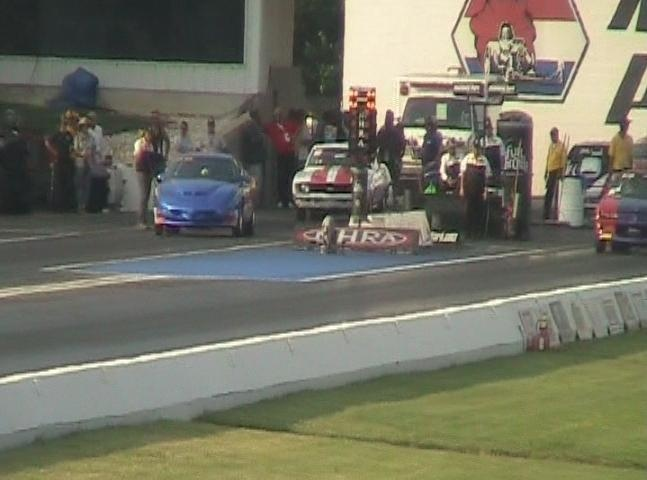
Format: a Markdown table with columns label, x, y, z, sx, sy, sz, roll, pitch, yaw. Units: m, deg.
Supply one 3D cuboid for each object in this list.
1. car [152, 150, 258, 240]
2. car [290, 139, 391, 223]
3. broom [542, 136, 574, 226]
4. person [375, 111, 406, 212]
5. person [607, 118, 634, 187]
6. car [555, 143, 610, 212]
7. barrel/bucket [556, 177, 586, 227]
| label | x | y | z | sx | sy | sz | roll | pitch | yaw |
| --- | --- | --- | --- | --- | --- | --- | --- | --- | --- |
| car | -2.463 | -1.020 | 24.258 | 1.593 | 1.973 | 1.944 | -2 | 11 | -8 |
| car | 0.021 | -1.480 | 27.938 | 1.256 | 1.292 | 2.615 | -1 | 4 | 5 |
| broom | 5.584 | -1.586 | 28.379 | 0.399 | 2.368 | 0.667 | 2 | 0 | -41 |
| person | 1.461 | -1.813 | 25.999 | 0.617 | 2.288 | 0.550 | 2 | 9 | 11 |
| person | 6.931 | -1.726 | 27.035 | 0.640 | 2.203 | 0.423 | 4 | -9 | 0 |
| car | 7.498 | -2.063 | 33.079 | 1.444 | 3.362 | 1.392 | 2 | 11 | 30 |
| barrel/bucket | 5.803 | -0.957 | 27.452 | 0.604 | 1.306 | 0.625 | 1 | 13 | 0 |
